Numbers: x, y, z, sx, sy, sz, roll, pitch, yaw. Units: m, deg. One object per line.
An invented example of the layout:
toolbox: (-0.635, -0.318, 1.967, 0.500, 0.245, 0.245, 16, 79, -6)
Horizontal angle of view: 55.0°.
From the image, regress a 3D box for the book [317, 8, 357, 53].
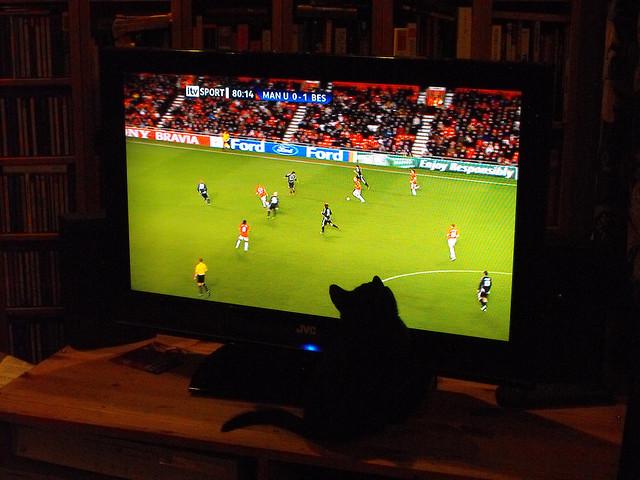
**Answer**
book: (0.073, -0.907, 2.646, 0.162, 0.179, 0.038, 2, 12, -1)

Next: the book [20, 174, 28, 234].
book: (-1.294, -0.160, 2.692, 0.035, 0.248, 0.023, 9, 14, 32)

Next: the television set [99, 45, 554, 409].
television set: (0.033, -0.035, 1.568, 1.002, 0.653, 0.277, 5, 10, 14)

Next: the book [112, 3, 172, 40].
book: (-0.741, -0.939, 2.579, 0.247, 0.053, 0.228, -3, 40, 6)

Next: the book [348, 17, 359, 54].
book: (0.140, -0.868, 2.663, 0.057, 0.213, 0.024, 4, 9, 27)

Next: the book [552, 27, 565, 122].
book: (1.114, -0.754, 2.824, 0.039, 0.379, 0.300, -3, 8, 25)

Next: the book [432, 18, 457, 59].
book: (0.554, -0.879, 2.678, 0.077, 0.116, 0.096, 0, 20, 13)
